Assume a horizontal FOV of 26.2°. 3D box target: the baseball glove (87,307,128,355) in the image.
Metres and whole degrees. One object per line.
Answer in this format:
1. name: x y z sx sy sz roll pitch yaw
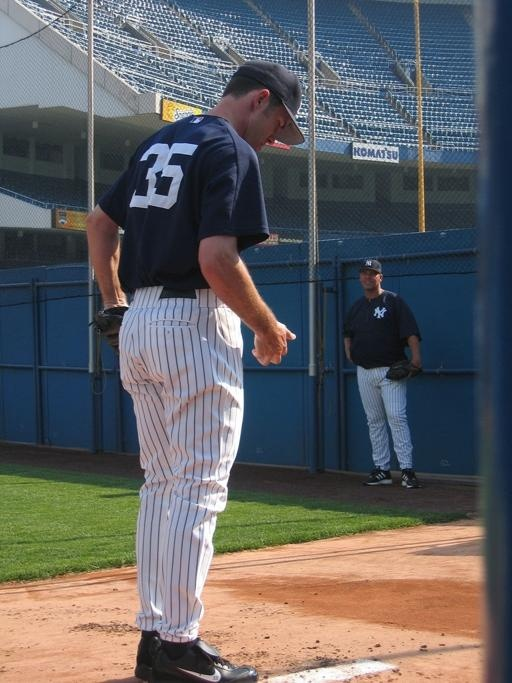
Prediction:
1. baseball glove: -0.490 -0.059 3.652 0.076 0.083 0.196 -4 6 2

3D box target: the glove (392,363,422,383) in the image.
1. glove: 1.086 0.211 7.975 0.191 0.092 0.117 -3 -5 25

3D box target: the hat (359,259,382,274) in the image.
1. hat: 0.853 -0.557 8.145 0.123 0.086 0.165 -1 -19 38

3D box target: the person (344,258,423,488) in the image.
1. person: 0.935 0.235 8.292 0.493 1.680 0.764 0 1 -2

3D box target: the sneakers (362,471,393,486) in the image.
1. sneakers: 0.909 1.021 8.263 0.237 0.107 0.087 11 -15 -43

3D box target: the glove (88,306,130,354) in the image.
1. glove: -0.480 -0.055 3.606 0.076 0.084 0.197 0 6 6
